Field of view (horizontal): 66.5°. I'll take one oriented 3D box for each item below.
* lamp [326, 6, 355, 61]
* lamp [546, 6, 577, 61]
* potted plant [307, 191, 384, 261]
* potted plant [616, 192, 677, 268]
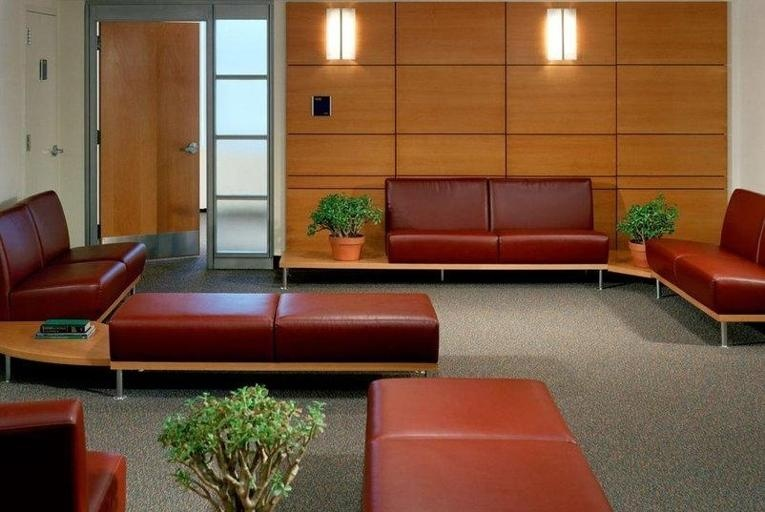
[{"bbox_3d":[-0.487,-2.582,6.816,0.347,0.592,0.152,0,15,2],"label":"lamp"},{"bbox_3d":[2.065,-2.578,6.820,0.371,0.599,0.178,2,15,11],"label":"lamp"},{"bbox_3d":[-0.414,-0.319,6.580,0.931,0.685,0.826,0,-2,-5],"label":"potted plant"},{"bbox_3d":[2.704,-0.251,6.282,0.678,0.662,0.673,5,-2,27],"label":"potted plant"}]
